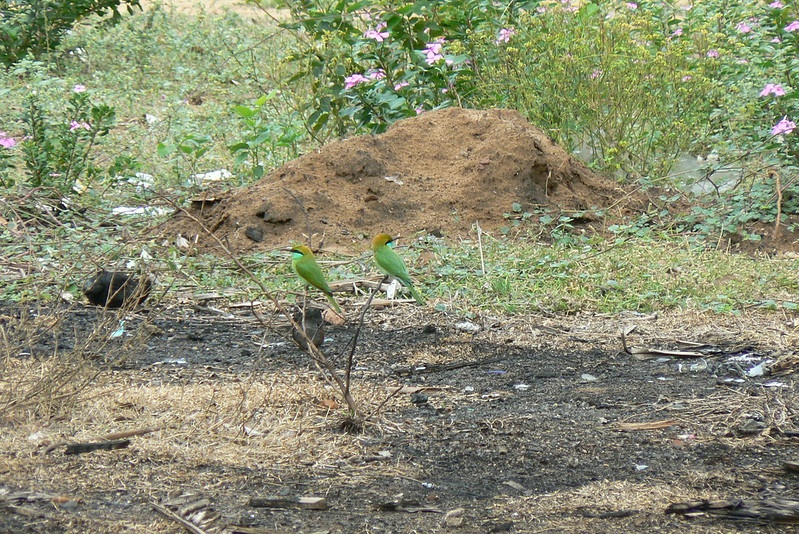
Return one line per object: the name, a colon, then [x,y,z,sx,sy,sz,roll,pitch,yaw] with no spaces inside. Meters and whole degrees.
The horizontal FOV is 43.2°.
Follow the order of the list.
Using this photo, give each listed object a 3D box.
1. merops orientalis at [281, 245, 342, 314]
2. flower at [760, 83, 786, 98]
merops orientalis: [-0.690,0.067,7.978,0.285,0.490,0.314,-6,25,-5]
flower: [3.985,-1.885,10.706,0.336,0.073,0.258,-1,16,19]
